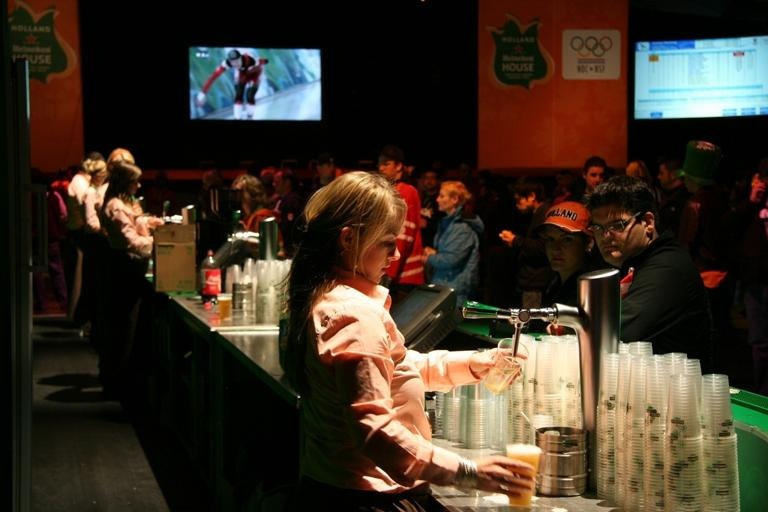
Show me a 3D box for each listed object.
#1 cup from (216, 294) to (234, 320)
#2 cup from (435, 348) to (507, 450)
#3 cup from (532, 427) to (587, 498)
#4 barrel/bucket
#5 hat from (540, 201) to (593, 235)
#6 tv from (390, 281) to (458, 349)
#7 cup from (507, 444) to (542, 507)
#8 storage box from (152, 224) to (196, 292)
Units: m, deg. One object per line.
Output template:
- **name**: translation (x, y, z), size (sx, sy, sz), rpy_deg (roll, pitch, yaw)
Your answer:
- **cup**: translation (-1.042, 0.320, 4.289), size (0.138, 0.216, 0.138), rpy_deg (1, -4, 0)
- **cup**: translation (0.336, 0.538, 2.410), size (0.223, 0.249, 0.230), rpy_deg (0, 2, 0)
- **cup**: translation (0.543, 0.646, 2.103), size (0.178, 0.197, 0.180), rpy_deg (0, -3, 0)
- **barrel/bucket**: translation (0.547, 0.644, 2.102), size (0.178, 0.197, 0.180), rpy_deg (0, -4, 0)
- **hat**: translation (0.963, -0.207, 3.465), size (0.230, 0.149, 0.231), rpy_deg (6, 9, 15)
- **tv**: translation (0.176, 0.225, 2.733), size (0.287, 0.250, 0.095), rpy_deg (-34, -58, 28)
- **cup**: translation (0.412, 0.659, 1.969), size (0.101, 0.175, 0.172), rpy_deg (6, 9, 14)
- **storage box**: translation (-1.736, -0.034, 5.551), size (0.321, 0.552, 0.555), rpy_deg (-1, 11, -19)
